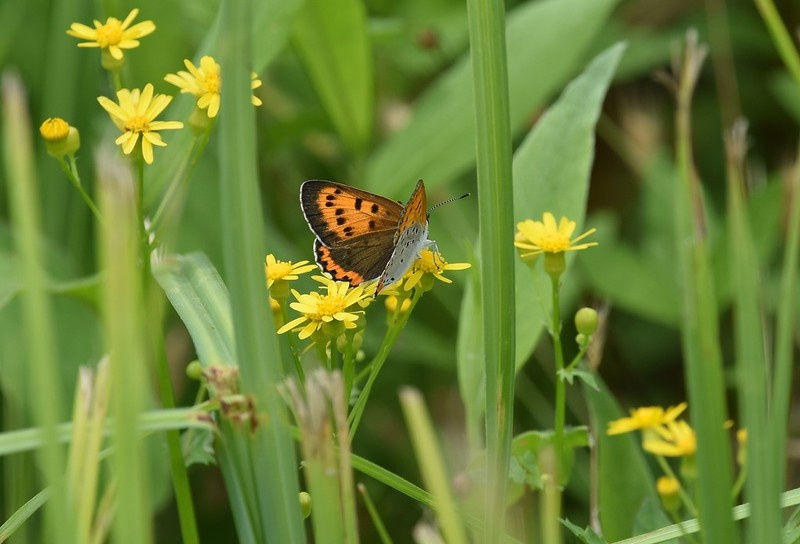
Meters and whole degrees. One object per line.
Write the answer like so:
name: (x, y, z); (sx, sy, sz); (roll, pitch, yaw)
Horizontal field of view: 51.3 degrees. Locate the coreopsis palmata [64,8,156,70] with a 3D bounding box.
coreopsis palmata: (-0.428, -0.346, 1.245); (0.113, 0.138, 0.173); (-9, 14, -19)
